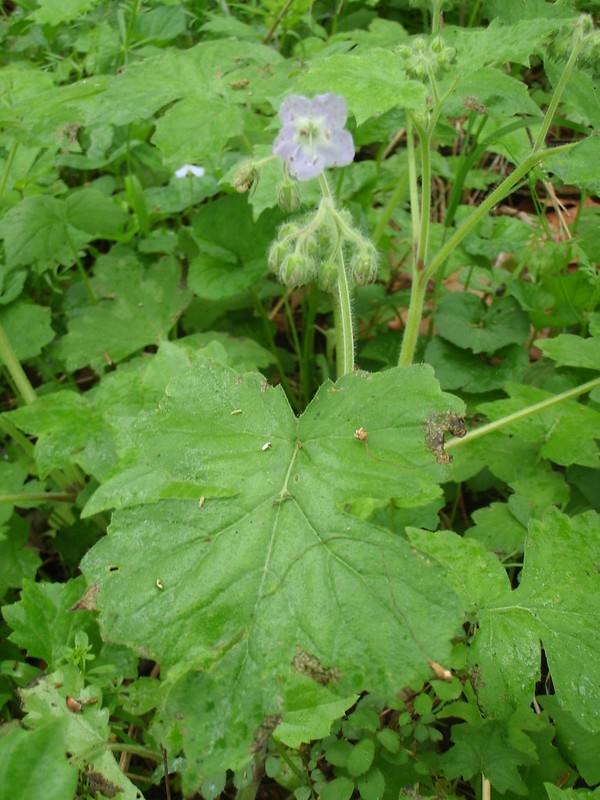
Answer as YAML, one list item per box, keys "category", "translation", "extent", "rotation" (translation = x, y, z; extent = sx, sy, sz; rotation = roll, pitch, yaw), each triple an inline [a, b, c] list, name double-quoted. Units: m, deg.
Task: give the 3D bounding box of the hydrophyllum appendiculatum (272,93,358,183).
- category: "hydrophyllum appendiculatum"
  translation: [0.032, -0.657, 1.702]
  extent: [0.191, 0.203, 0.155]
  rotation: [7, 42, 10]
